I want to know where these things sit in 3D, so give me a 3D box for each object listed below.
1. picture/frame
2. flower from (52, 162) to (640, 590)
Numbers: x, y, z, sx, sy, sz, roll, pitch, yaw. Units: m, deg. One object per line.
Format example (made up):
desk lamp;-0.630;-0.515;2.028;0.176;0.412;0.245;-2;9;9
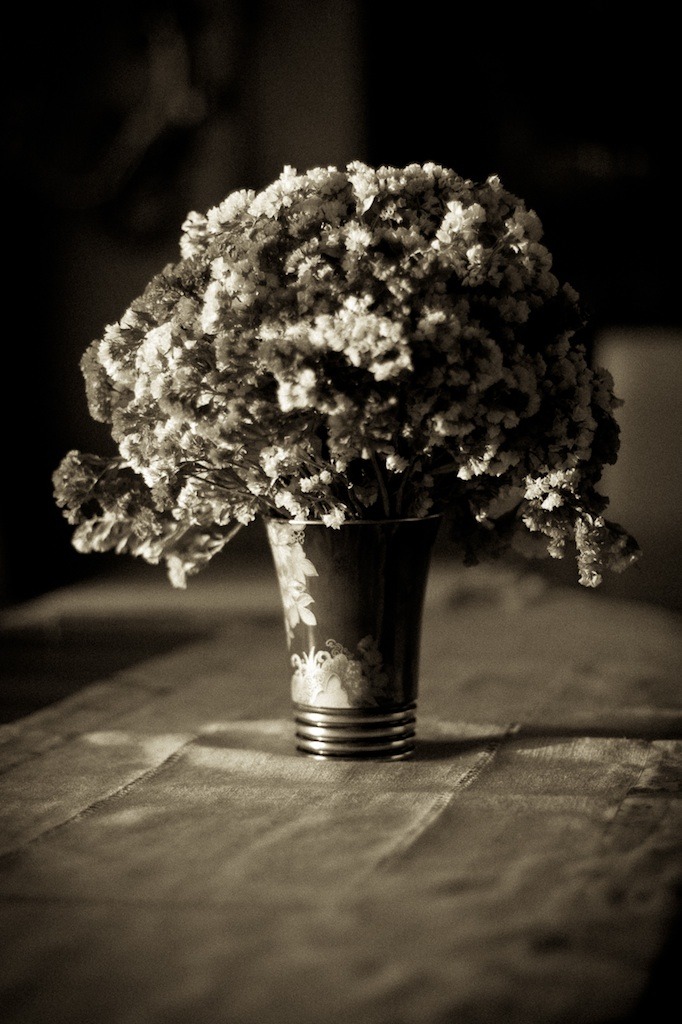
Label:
picture/frame;0.015;0.106;1.090;0.169;0.193;0.164;-1;-4;4
flower;-0.024;-0.108;1.067;0.403;0.321;0.356;0;-2;-10
